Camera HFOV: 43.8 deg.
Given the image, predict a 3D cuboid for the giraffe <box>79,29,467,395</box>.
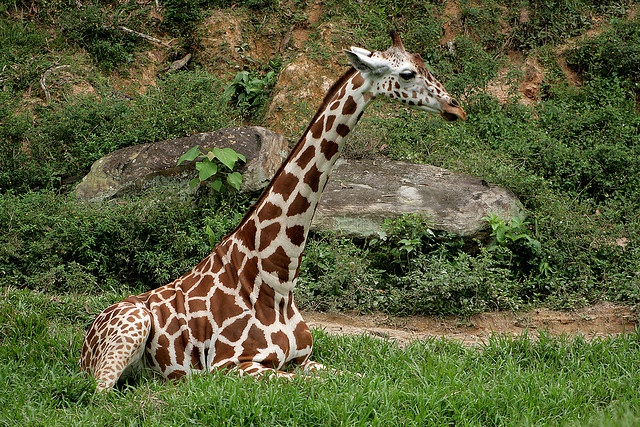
[{"bbox_3d":[-0.970,0.365,12.371,5.683,5.180,2.821,-3,0,17],"label":"giraffe"}]
